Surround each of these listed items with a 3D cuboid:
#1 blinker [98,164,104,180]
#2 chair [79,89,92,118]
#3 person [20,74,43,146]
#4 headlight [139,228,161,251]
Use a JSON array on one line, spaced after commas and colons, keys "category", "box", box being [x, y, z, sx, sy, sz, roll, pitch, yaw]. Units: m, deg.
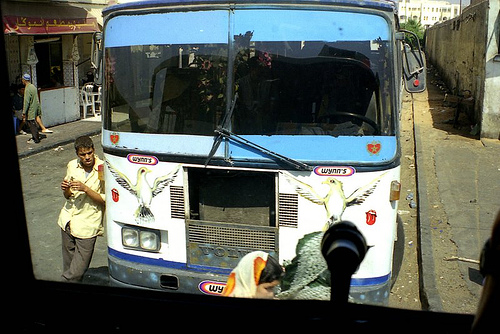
[{"category": "blinker", "box": [-2.030, 0.075, 5.758, 0.065, 0.204, 0.126, -4, 12, -29]}, {"category": "chair", "box": [-7.747, -2.997, 19.930, 0.539, 1.253, 1.399, -3, 13, -22]}, {"category": "person", "box": [-7.585, -2.024, 14.775, 0.515, 2.372, 1.202, -4, 12, -28]}, {"category": "headlight", "box": [-1.177, 0.845, 5.141, 0.252, 0.252, 0.261, 4, 6, 16]}]
